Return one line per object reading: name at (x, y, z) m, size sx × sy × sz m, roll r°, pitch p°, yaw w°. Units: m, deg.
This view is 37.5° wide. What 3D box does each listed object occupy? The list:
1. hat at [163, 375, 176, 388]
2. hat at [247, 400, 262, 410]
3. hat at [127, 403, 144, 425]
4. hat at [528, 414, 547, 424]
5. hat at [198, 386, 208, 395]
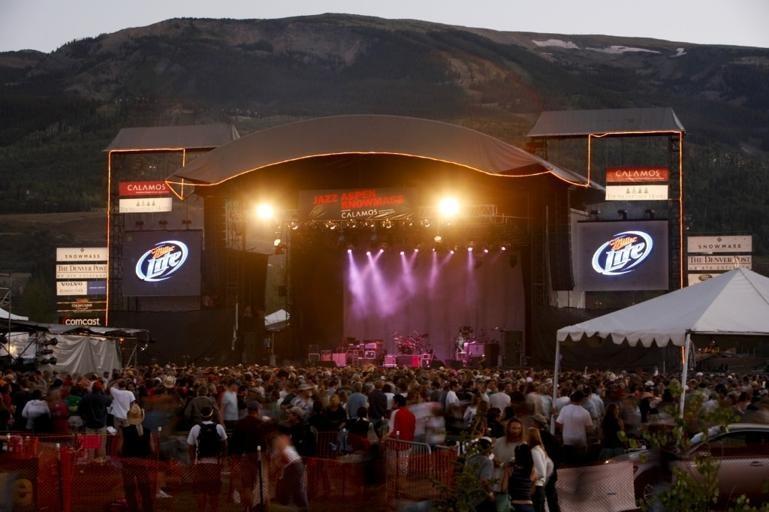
hat at (-8.162, 4.810, 43.070) m, size 0.623 × 0.605 × 0.196 m, roll 5°, pitch -26°, yaw -3°
hat at (-4.270, 4.953, 37.413) m, size 0.462 × 0.280 × 0.251 m, roll 2°, pitch -7°, yaw -29°
hat at (-8.130, 5.192, 36.992) m, size 0.463 × 0.654 × 0.546 m, roll 0°, pitch -6°, yaw -11°
hat at (5.244, 5.585, 38.604) m, size 0.631 × 0.189 × 0.633 m, roll 9°, pitch -5°, yaw 19°
hat at (-6.257, 4.672, 39.188) m, size 0.258 × 0.297 × 0.305 m, roll 3°, pitch 6°, yaw -10°
